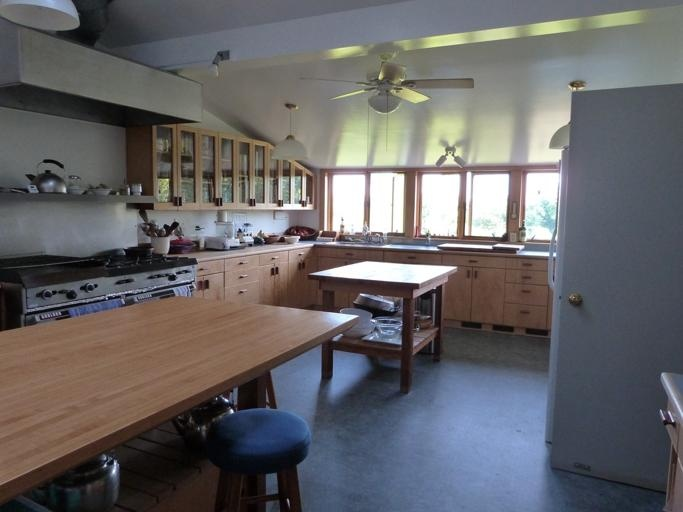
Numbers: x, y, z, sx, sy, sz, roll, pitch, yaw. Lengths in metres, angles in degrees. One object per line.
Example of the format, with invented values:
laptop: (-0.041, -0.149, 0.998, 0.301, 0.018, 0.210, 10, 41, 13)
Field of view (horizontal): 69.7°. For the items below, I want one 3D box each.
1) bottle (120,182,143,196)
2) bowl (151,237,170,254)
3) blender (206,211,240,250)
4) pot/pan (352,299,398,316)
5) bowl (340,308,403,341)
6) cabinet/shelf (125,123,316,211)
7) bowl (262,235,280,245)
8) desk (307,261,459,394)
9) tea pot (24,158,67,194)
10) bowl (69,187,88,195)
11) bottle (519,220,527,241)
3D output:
bottle: (-2.058, -0.635, 4.774, 0.204, 0.130, 0.144, -1, 5, -27)
bowl: (-1.821, -0.094, 4.942, 0.202, 0.146, 0.146, 0, 9, -3)
blender: (-1.430, -0.294, 5.887, 0.436, 0.449, 0.290, 6, 9, 40)
pot/pan: (0.329, 0.478, 4.678, 0.268, 0.096, 0.226, 7, 1, 6)
bowl: (0.278, 0.633, 4.470, 0.562, 0.188, 0.371, 0, 1, 12)
cabinet/shelf: (-1.473, -0.982, 5.680, 0.328, 0.943, 2.008, 9, 12, 34)
bowl: (-0.942, -0.213, 6.596, 0.243, 0.116, 0.101, -6, 12, -38)
desk: (0.449, 0.587, 4.743, 1.086, 0.914, 1.308, 3, 5, 29)
tea pot: (-2.552, -0.666, 4.103, 0.290, 0.312, 0.385, 12, 10, 42)
bowl: (-2.338, -0.560, 4.271, 0.141, 0.047, 0.134, 0, 2, 0)
bottle: (2.406, -0.324, 6.465, 0.083, 0.272, 0.162, 5, 11, 20)
